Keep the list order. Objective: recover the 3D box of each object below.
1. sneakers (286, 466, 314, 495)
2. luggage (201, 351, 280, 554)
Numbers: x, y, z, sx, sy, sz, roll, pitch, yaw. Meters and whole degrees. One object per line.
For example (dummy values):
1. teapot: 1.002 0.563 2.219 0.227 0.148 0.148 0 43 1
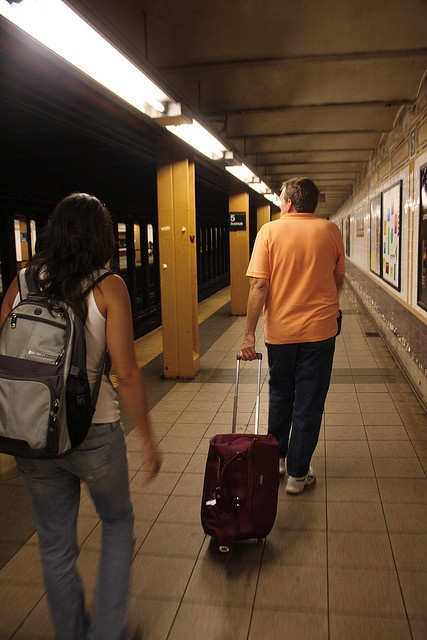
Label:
1. sneakers: 0.496 0.933 2.431 0.072 0.113 0.229 2 10 24
2. luggage: 0.112 0.719 1.882 0.337 0.662 0.391 -1 4 1
